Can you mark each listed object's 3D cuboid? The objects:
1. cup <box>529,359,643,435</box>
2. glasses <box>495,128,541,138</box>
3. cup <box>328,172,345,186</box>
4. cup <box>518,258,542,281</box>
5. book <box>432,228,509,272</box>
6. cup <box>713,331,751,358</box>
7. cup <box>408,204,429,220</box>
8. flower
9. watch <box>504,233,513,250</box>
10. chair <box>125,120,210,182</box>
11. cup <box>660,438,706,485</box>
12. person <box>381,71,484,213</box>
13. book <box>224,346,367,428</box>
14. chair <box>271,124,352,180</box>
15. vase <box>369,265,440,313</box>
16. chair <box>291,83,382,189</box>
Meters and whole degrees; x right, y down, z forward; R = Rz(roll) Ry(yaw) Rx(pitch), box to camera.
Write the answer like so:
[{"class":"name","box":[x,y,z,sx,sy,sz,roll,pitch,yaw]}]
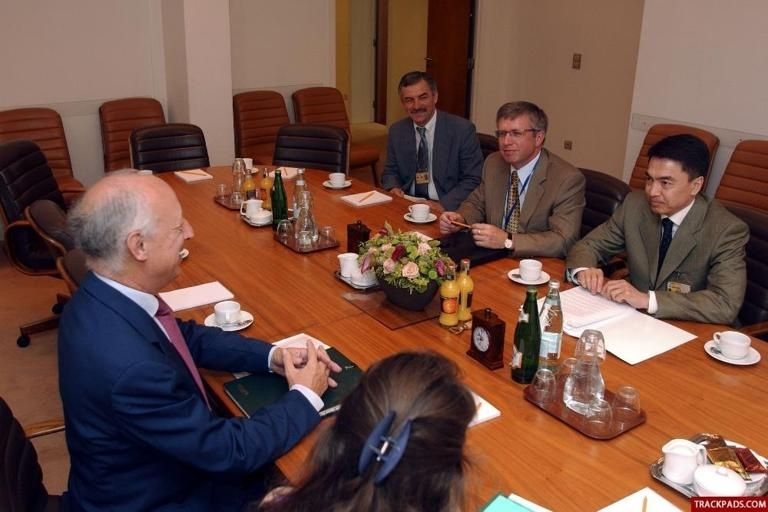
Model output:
[{"class":"cup","box":[0.741,0.533,1.977,0.423,0.131,0.242,15,29,31]},{"class":"glasses","box":[0.864,-0.800,3.456,0.280,0.071,0.101,6,25,15]},{"class":"cup","box":[-0.374,-0.617,4.262,0.106,0.085,0.113,0,7,0]},{"class":"cup","box":[0.780,0.074,2.830,0.102,0.091,0.108,-4,8,1]},{"class":"book","box":[0.484,-0.044,3.169,0.246,0.051,0.248,-18,22,-15]},{"class":"cup","box":[1.486,0.378,2.279,0.101,0.073,0.131,-16,18,-15]},{"class":"cup","box":[0.248,-0.306,3.628,0.094,0.083,0.118,-5,12,-9]},{"class":"flower","box":[0.103,0.051,2.622,0.422,0.267,0.379,8,15,24]},{"class":"watch","box":[0.744,-0.088,3.171,0.065,0.080,0.080,-1,41,1]},{"class":"chair","box":[-1.984,-1.056,5.020,0.546,0.772,0.595,-9,20,-29]},{"class":"cup","box":[0.994,0.671,1.738,0.142,0.106,0.097,2,14,10]},{"class":"person","box":[0.349,-0.968,4.710,0.902,1.262,0.833,9,22,35]},{"class":"book","box":[-0.379,0.535,2.127,0.346,0.072,0.343,-11,23,-33]},{"class":"chair","box":[-0.651,-0.946,5.036,0.504,0.713,0.572,2,9,5]},{"class":"vase","box":[0.124,0.125,2.538,0.185,0.126,0.232,-8,12,-44]},{"class":"chair","box":[-0.549,-1.347,6.452,0.826,1.385,0.930,-17,19,-35]}]
